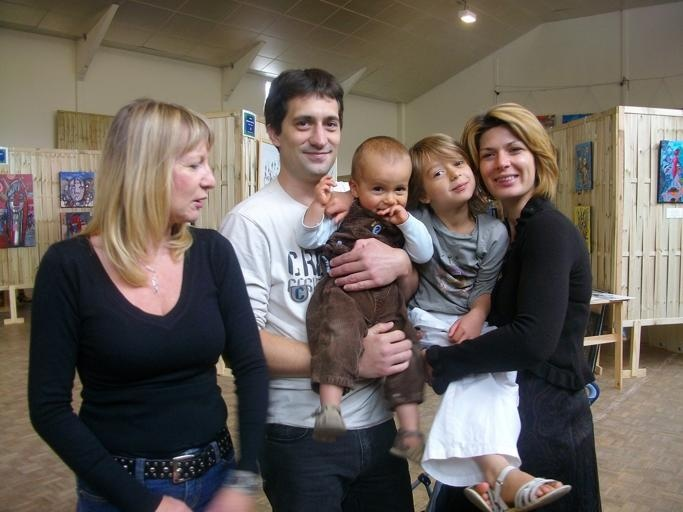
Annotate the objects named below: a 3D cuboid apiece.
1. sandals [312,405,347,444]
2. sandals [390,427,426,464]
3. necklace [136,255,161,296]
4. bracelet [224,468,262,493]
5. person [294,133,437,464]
[{"bbox_3d":[-0.051,0.682,2.123,0.143,0.121,0.066,-1,2,-3],"label":"sandals"},{"bbox_3d":[0.289,0.802,2.268,0.158,0.168,0.100,16,-4,9],"label":"sandals"},{"bbox_3d":[-0.719,0.073,1.945,0.055,0.160,0.060,0,-24,-37],"label":"necklace"},{"bbox_3d":[-0.355,0.813,1.873,0.129,0.084,0.044,-2,8,-15],"label":"bracelet"},{"bbox_3d":[0.119,0.119,2.518,0.634,1.540,0.552,13,-19,-27],"label":"person"}]
